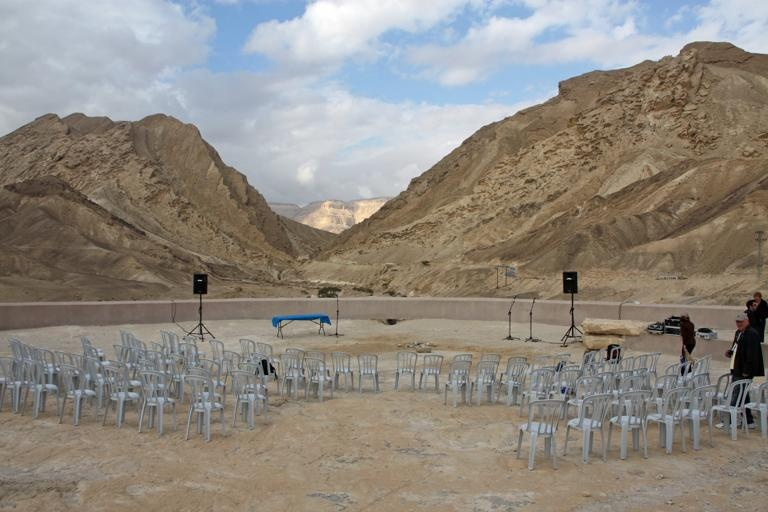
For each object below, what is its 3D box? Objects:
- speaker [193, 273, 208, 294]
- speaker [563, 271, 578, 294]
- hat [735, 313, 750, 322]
[{"bbox_3d":[-6.525,0.955,24.666,0.394,0.627,0.562,3,-9,-25],"label":"speaker"},{"bbox_3d":[6.583,0.908,24.357,0.397,0.702,0.478,-1,-8,0],"label":"speaker"},{"bbox_3d":[8.347,1.410,16.022,0.346,0.139,0.233,5,-7,-40],"label":"hat"}]
